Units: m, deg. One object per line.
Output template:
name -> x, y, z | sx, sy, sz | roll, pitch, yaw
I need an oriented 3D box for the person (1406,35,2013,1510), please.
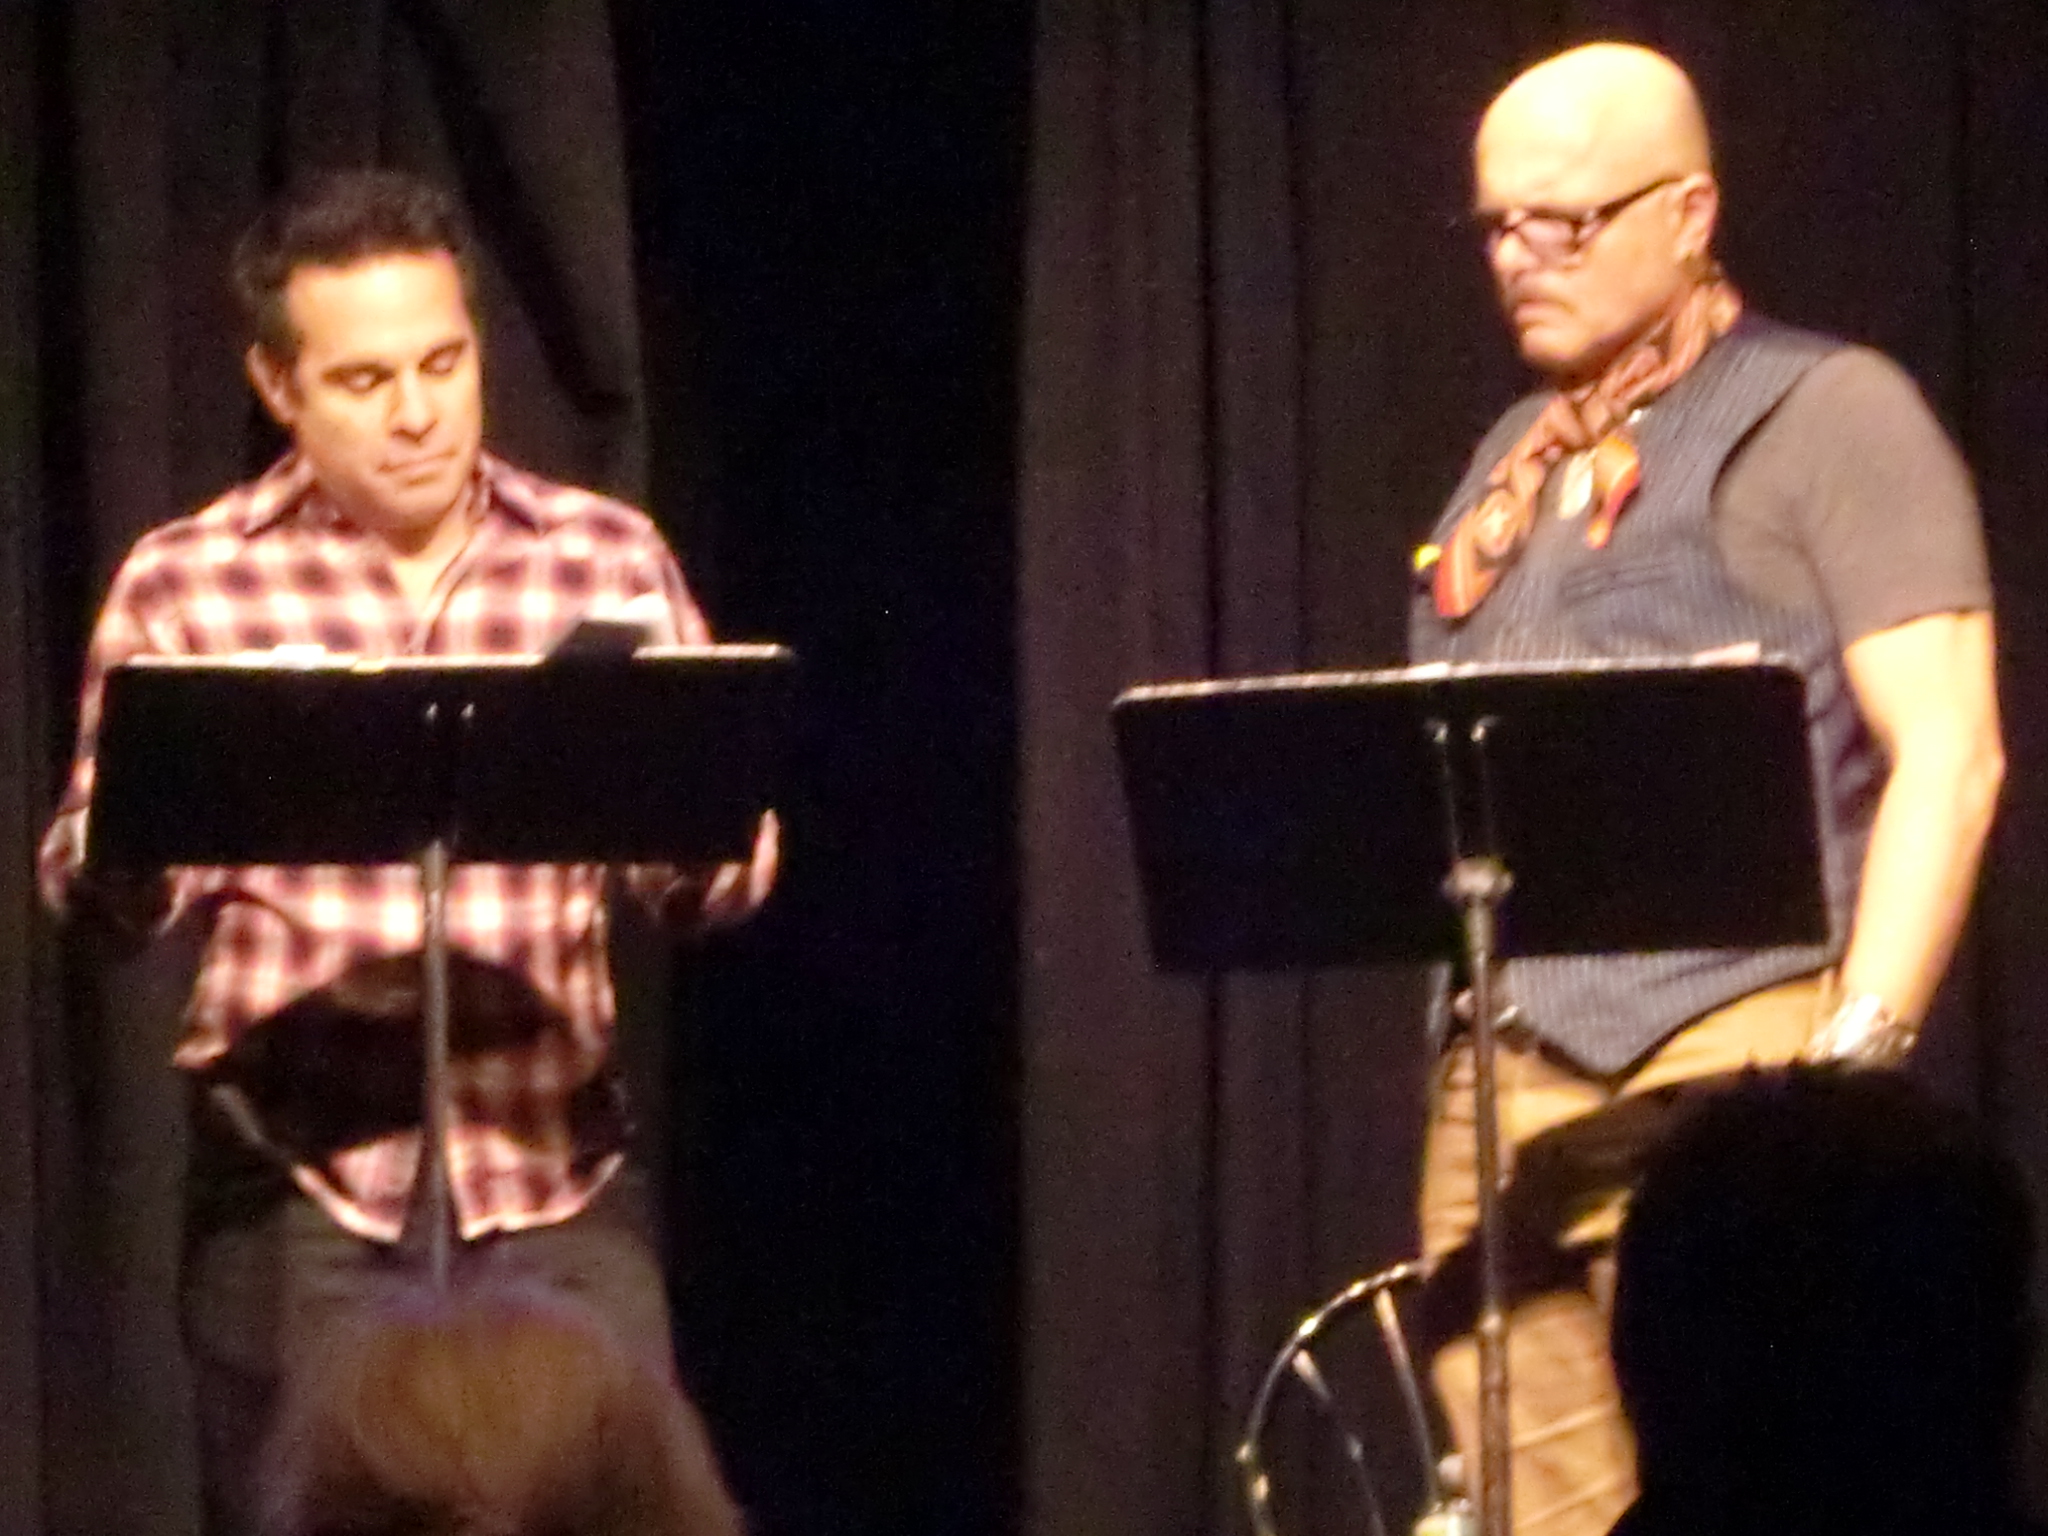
person -> 0.656, 0.016, 2.633 | 0.377, 1.509, 0.621 | -6, 4, -33

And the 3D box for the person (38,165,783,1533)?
person -> -0.697, 0.068, 2.838 | 0.723, 1.441, 0.426 | -5, 4, -23
